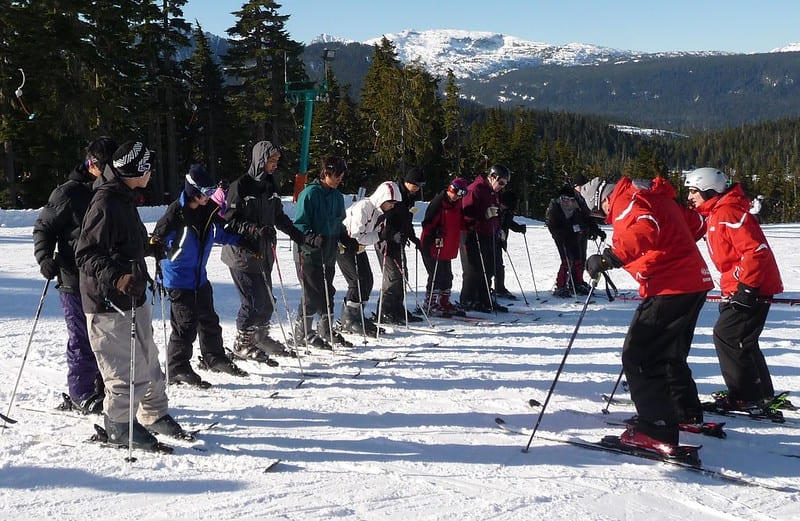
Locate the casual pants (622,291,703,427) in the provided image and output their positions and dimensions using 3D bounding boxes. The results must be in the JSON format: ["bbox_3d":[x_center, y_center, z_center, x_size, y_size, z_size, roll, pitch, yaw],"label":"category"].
[{"bbox_3d":[3.054,1.122,9.080,0.955,1.552,0.487,-2,4,-29],"label":"casual pants"}]

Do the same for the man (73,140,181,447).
[{"bbox_3d":[-3.040,0.394,8.718,0.982,3.433,0.604,-1,4,-23],"label":"man"}]

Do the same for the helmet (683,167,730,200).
[{"bbox_3d":[3.764,-1.000,9.730,0.434,0.365,0.360,-16,9,21],"label":"helmet"}]

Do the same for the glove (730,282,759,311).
[{"bbox_3d":[4.127,0.421,9.502,0.294,0.250,0.245,4,-2,31],"label":"glove"}]

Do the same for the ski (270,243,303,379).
[{"bbox_3d":[-1.747,0.809,12.132,0.243,1.780,0.202,-14,2,23],"label":"ski"}]

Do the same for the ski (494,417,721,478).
[{"bbox_3d":[2.365,2.120,8.897,2.713,0.227,0.303,5,35,18],"label":"ski"}]

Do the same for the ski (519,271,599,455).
[{"bbox_3d":[2.195,1.429,10.920,0.302,2.131,0.120,13,22,-15],"label":"ski"}]

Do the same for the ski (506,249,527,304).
[{"bbox_3d":[2.413,0.343,16.496,0.181,0.992,0.142,-27,-20,10],"label":"ski"}]
